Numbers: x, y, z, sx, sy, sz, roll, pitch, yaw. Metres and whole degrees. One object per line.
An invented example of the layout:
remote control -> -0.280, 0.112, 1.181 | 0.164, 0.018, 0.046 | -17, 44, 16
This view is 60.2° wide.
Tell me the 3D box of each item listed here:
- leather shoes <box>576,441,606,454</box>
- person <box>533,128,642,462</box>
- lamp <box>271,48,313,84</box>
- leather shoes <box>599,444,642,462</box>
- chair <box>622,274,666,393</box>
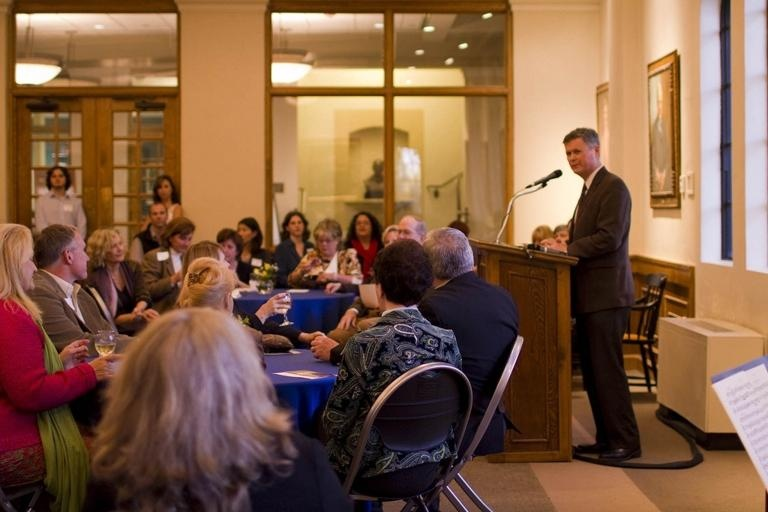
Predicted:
leather shoes -> 1.476, 1.388, 4.816 | 0.239, 0.100, 0.083 | 4, -8, 2
person -> 1.546, 0.260, 4.687 | 0.564, 2.319, 0.473 | 1, 8, 15
lamp -> -1.163, -2.294, 8.221 | 0.520, 0.235, 0.548 | 8, -5, -2
leather shoes -> 1.641, 1.383, 4.615 | 0.270, 0.126, 0.113 | 3, -8, -4
chair -> 2.297, 0.714, 6.198 | 0.586, 1.032, 0.583 | 2, 0, 10
